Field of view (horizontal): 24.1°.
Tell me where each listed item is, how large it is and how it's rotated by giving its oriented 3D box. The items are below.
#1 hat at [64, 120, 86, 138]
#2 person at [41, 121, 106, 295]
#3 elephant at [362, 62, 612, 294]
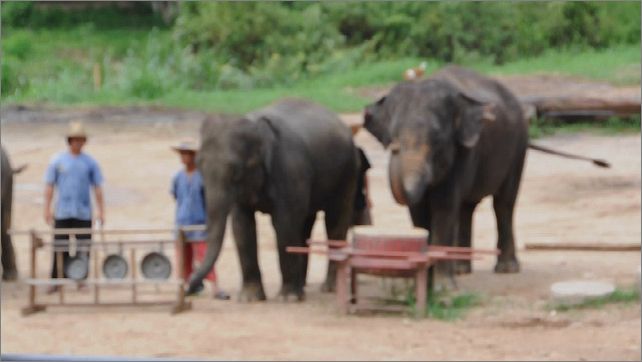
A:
[{"bbox_3d":[-5.606,-1.182,34.332,0.470,0.372,0.213,-2,6,-7],"label":"hat"},{"bbox_3d":[-5.691,-0.147,34.358,1.376,2.436,0.459,-3,6,-8],"label":"person"},{"bbox_3d":[3.167,-0.094,34.300,3.394,4.969,1.297,-5,7,-23],"label":"elephant"}]
